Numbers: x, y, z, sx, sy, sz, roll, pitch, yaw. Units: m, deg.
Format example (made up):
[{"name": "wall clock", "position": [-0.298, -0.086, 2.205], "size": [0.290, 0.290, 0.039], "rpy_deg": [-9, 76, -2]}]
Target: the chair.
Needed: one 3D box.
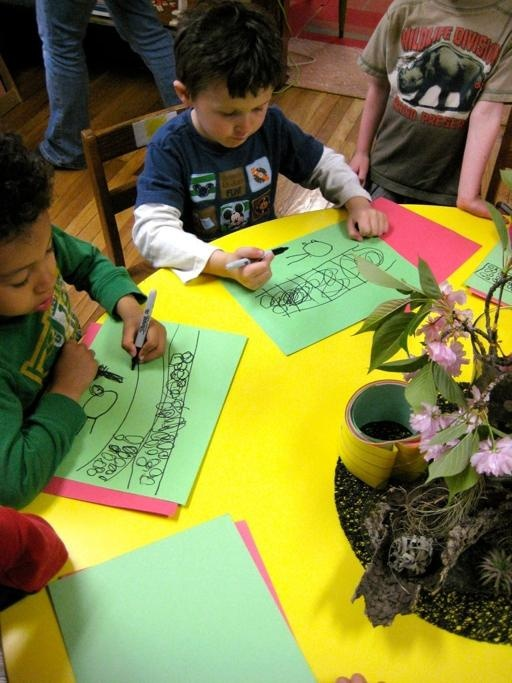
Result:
[{"name": "chair", "position": [-0.309, -0.365, 1.339], "size": [0.245, 0.365, 0.244], "rpy_deg": [-9, 48, -16]}]

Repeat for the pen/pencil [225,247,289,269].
[{"name": "pen/pencil", "position": [0.002, -0.147, 0.967], "size": [0.108, 0.015, 0.015], "rpy_deg": [-25, 81, -38]}]
